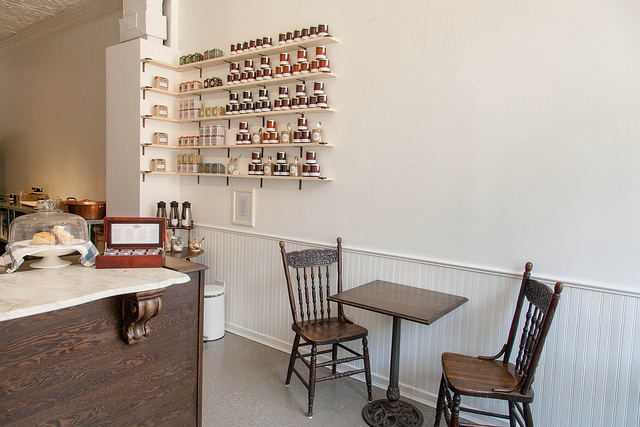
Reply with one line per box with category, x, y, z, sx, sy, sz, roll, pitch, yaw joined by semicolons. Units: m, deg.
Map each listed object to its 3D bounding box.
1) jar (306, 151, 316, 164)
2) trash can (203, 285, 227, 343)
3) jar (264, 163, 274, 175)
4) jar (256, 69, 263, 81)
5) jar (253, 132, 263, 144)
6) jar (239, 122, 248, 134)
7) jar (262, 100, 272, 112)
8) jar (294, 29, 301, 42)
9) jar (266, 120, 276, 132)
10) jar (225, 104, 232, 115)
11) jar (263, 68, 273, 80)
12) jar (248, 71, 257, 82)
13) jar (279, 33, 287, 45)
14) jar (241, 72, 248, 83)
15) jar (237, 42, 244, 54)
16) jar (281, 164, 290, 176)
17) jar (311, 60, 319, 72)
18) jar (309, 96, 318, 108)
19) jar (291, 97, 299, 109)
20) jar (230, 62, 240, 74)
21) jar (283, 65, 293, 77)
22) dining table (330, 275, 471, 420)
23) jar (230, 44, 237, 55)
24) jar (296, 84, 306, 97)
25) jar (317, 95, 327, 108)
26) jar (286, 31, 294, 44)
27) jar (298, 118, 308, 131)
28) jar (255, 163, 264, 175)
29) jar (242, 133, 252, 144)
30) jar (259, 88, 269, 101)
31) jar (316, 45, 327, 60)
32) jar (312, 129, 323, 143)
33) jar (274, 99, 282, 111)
jar;-0.086;-0.521;4.050;0.105;0.106;0.105;0;4;0
trash can;-1.088;1.035;4.579;0.189;0.532;0.338;-1;15;-9
jar;-0.506;-0.435;4.260;0.105;0.112;0.103;3;2;0
jar;-0.579;-1.336;4.231;0.091;0.106;0.032;9;17;27
jar;-0.619;-0.739;4.312;0.108;0.113;0.107;1;0;0
jar;-0.763;-0.856;4.408;0.111;0.111;0.111;1;1;0
jar;-0.512;-1.046;4.265;0.084;0.113;0.113;0;14;-6
jar;-0.205;-1.630;4.021;0.057;0.115;0.106;0;14;-6
jar;-0.469;-0.841;4.226;0.107;0.104;0.104;0;3;0
jar;-0.919;-1.062;4.469;0.045;0.101;0.120;-11;19;-40
jar;-0.500;-1.342;4.212;0.083;0.106;0.075;1;14;-2
jar;-0.662;-1.344;4.301;0.073;0.106;0.111;-1;14;-9
jar;-0.342;-1.632;4.097;0.068;0.113;0.158;0;14;-7
jar;-0.740;-1.346;4.339;0.100;0.099;0.040;15;19;42
jar;-0.781;-1.638;4.334;0.055;0.097;0.089;-5;16;-25
jar;-0.327;-0.412;4.154;0.075;0.103;0.072;2;14;0
jar;-0.042;-1.334;3.964;0.047;0.108;0.105;-11;19;-40
jar;-0.061;-1.015;3.987;0.100;0.101;0.040;12;18;37
jar;-0.228;-1.019;4.063;0.100;0.097;0.097;0;4;0
jar;-0.847;-1.464;4.424;0.103;0.109;0.095;2;14;0
jar;-0.300;-1.336;4.107;0.085;0.113;0.101;0;14;-7
dining table;0.548;1.081;3.720;1.151;1.085;1.018;6;6;42
jar;-0.857;-1.642;4.381;0.068;0.109;0.158;-2;14;-13
jar;-0.175;-1.144;4.078;0.088;0.118;0.130;1;14;-3
jar;0.016;-1.023;3.987;0.076;0.106;0.113;7;15;21
jar;-0.274;-1.619;4.044;0.068;0.109;0.094;0;14;-5
jar;-0.162;-0.825;4.066;0.110;0.146;0.099;1;1;0
jar;-0.592;-0.439;4.307;0.081;0.109;0.076;2;14;0
jar;-0.729;-0.746;4.366;0.096;0.100;0.099;0;4;0
jar;-0.548;-1.160;4.290;0.079;0.110;0.088;0;14;-6
jar;0.005;-1.447;3.949;0.118;0.125;0.114;0;4;0
jar;-0.037;-0.701;4.014;0.122;0.124;0.117;2;0;0
jar;-0.401;-1.032;4.170;0.096;0.105;0.032;13;19;38
